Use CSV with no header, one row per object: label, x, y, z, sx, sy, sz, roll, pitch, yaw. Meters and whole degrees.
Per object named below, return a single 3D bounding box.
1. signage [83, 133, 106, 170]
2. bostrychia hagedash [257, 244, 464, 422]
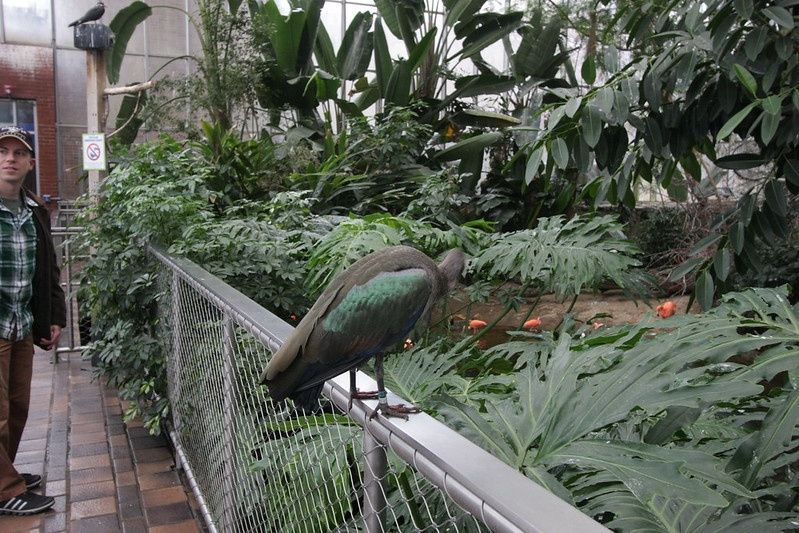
signage,-3.119,-1.175,5.617,0.207,0.384,0.241,-4,12,-29
bostrychia hagedash,-0.095,0.211,1.970,0.732,0.623,0.422,-1,8,-22
